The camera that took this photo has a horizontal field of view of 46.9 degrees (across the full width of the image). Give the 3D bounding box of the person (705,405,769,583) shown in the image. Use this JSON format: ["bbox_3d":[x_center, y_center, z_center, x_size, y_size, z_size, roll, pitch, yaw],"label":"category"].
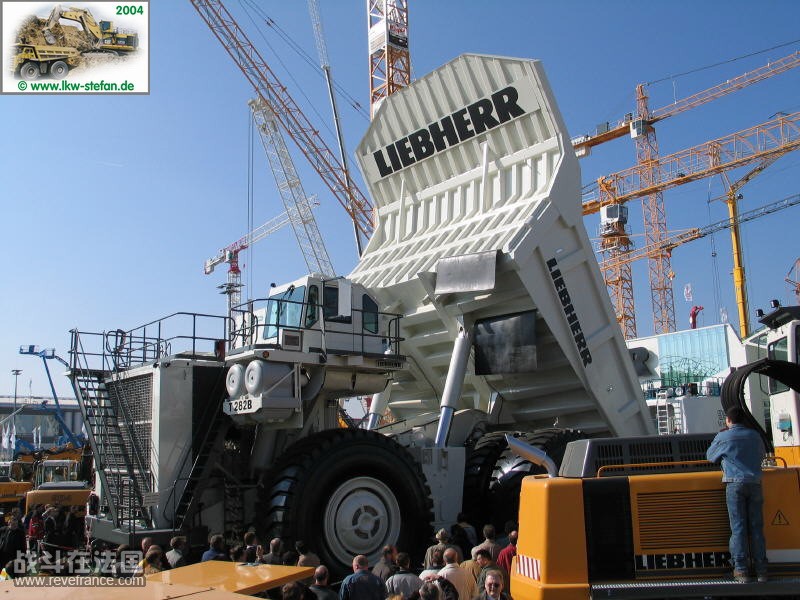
[{"bbox_3d":[3.740,2.158,10.233,0.491,1.685,0.528,0,-6,-1],"label":"person"}]
